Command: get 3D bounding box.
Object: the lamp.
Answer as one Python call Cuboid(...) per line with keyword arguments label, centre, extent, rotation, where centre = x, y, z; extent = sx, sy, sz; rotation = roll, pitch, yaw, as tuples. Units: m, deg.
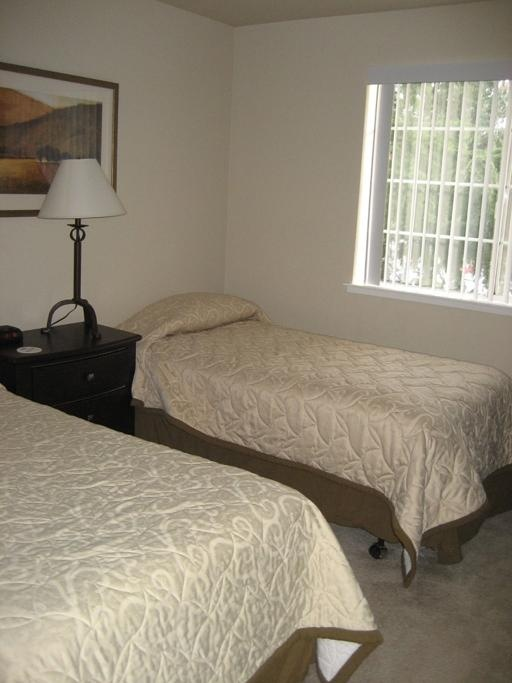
Cuboid(label="lamp", centre=(-0.889, -0.459, 2.805), extent=(0.381, 0.834, 0.564), rotation=(-3, 13, -34))
